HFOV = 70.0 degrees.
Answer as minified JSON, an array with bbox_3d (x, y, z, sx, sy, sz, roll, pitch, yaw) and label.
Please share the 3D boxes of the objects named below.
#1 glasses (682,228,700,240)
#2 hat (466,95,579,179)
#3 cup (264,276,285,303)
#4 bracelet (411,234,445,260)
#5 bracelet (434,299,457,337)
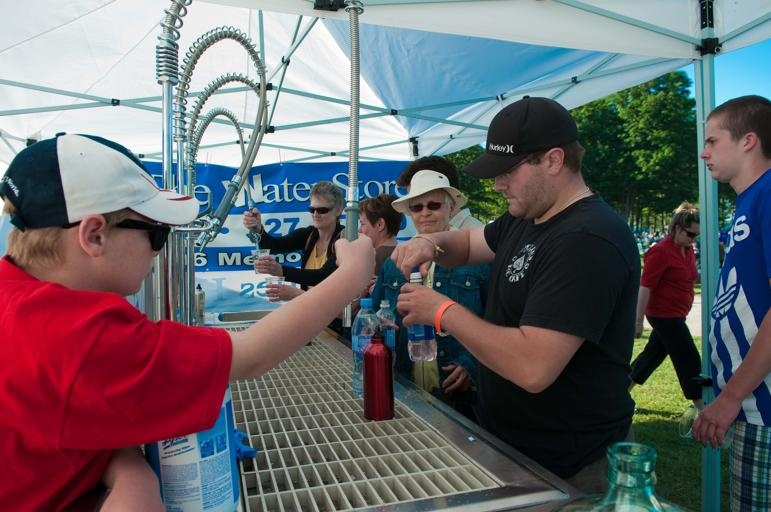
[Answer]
[{"bbox_3d":[3.126,-0.228,5.620,0.092,0.088,0.028,-4,-33,-24],"label":"glasses"},{"bbox_3d":[0.588,-0.511,2.350,0.441,0.233,0.295,-9,13,0],"label":"hat"},{"bbox_3d":[-0.730,0.235,3.726,0.155,0.151,0.149,2,0,0],"label":"cup"},{"bbox_3d":[0.207,-0.030,2.697,0.123,0.047,0.105,37,13,-7],"label":"bracelet"},{"bbox_3d":[0.242,0.254,2.264,0.085,0.152,0.068,5,12,10],"label":"bracelet"}]
